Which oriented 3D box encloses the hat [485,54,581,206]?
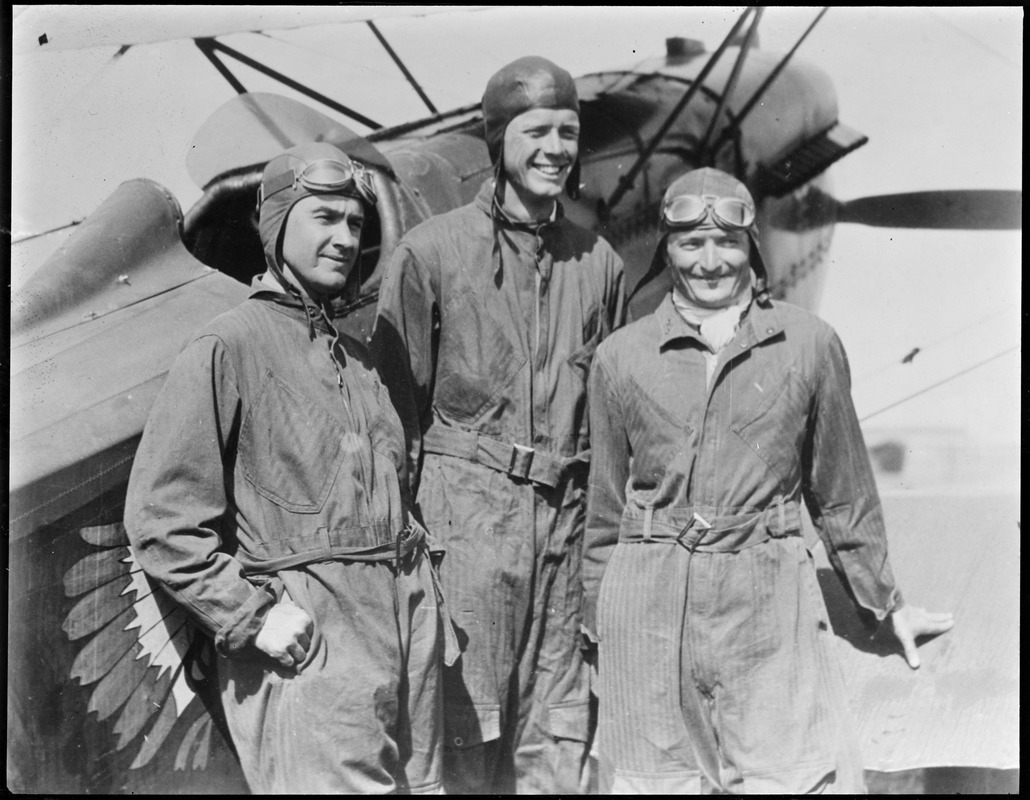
[{"bbox_3d":[0.034,-1.337,7.238,0.461,0.711,0.521,-4,7,-19],"label":"hat"}]

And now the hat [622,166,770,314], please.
[{"bbox_3d":[0.818,-0.744,7.094,0.525,0.637,0.613,-1,2,-2],"label":"hat"}]

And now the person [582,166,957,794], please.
[{"bbox_3d":[0.968,0.373,6.939,1.320,2.570,1.157,0,-26,2],"label":"person"}]
